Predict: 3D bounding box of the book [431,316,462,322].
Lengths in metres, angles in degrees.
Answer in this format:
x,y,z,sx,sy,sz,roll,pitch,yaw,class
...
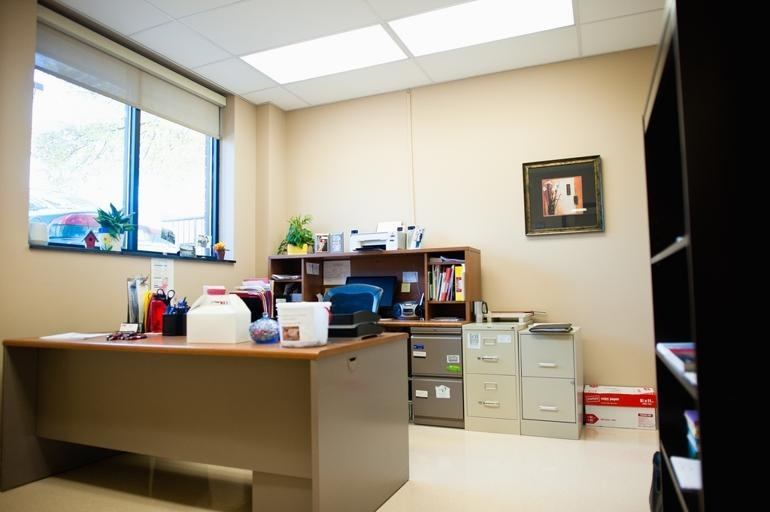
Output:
x,y,z,sx,sy,sz,roll,pitch,yaw,class
0.582,0.598,5.202,0.315,0.020,0.249,0,0,14,book

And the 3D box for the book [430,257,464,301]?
x,y,z,sx,sy,sz,roll,pitch,yaw,class
0.657,0.205,5.446,0.352,0.482,0.500,1,-1,18,book

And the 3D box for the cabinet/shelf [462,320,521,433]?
x,y,z,sx,sy,sz,roll,pitch,yaw,class
1.076,1.115,5.021,0.705,0.912,0.695,-1,-7,6,cabinet/shelf

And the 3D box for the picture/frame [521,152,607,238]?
x,y,z,sx,sy,sz,roll,pitch,yaw,class
1.762,-0.572,5.301,0.816,0.813,0.058,-3,-4,19,picture/frame

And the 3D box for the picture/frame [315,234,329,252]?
x,y,z,sx,sy,sz,roll,pitch,yaw,class
-0.679,-0.139,6.038,0.195,0.223,0.023,-1,-4,24,picture/frame

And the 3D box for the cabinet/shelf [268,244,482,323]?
x,y,z,sx,sy,sz,roll,pitch,yaw,class
-0.142,0.273,5.630,1.992,0.719,0.520,-1,7,8,cabinet/shelf

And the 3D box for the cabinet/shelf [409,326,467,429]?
x,y,z,sx,sy,sz,roll,pitch,yaw,class
0.658,1.129,5.262,0.585,0.932,0.652,-5,-6,40,cabinet/shelf

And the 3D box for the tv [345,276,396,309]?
x,y,z,sx,sy,sz,roll,pitch,yaw,class
-0.111,0.360,5.326,0.327,0.230,0.084,-2,-14,23,tv

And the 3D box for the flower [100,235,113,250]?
x,y,z,sx,sy,sz,roll,pitch,yaw,class
-2.401,-0.121,4.787,0.107,0.123,0.122,-1,14,-13,flower

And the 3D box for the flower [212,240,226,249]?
x,y,z,sx,sy,sz,roll,pitch,yaw,class
-1.740,-0.109,5.812,0.094,0.055,0.091,5,-9,-41,flower

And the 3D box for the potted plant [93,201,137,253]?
x,y,z,sx,sy,sz,roll,pitch,yaw,class
-2.368,-0.245,4.842,0.404,0.401,0.403,1,-5,-11,potted plant

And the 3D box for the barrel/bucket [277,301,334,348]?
x,y,z,sx,sy,sz,roll,pitch,yaw,class
-0.463,0.401,3.263,0.286,0.199,0.264,-1,-5,0,barrel/bucket

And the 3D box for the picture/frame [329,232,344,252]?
x,y,z,sx,sy,sz,roll,pitch,yaw,class
-0.523,-0.142,5.968,0.211,0.280,0.028,0,-4,6,picture/frame

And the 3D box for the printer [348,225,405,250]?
x,y,z,sx,sy,sz,roll,pitch,yaw,class
-0.063,-0.180,5.602,0.554,0.261,0.395,0,0,-2,printer

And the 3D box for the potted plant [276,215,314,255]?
x,y,z,sx,sy,sz,roll,pitch,yaw,class
-0.961,-0.239,6.185,0.443,0.391,0.421,1,1,15,potted plant
